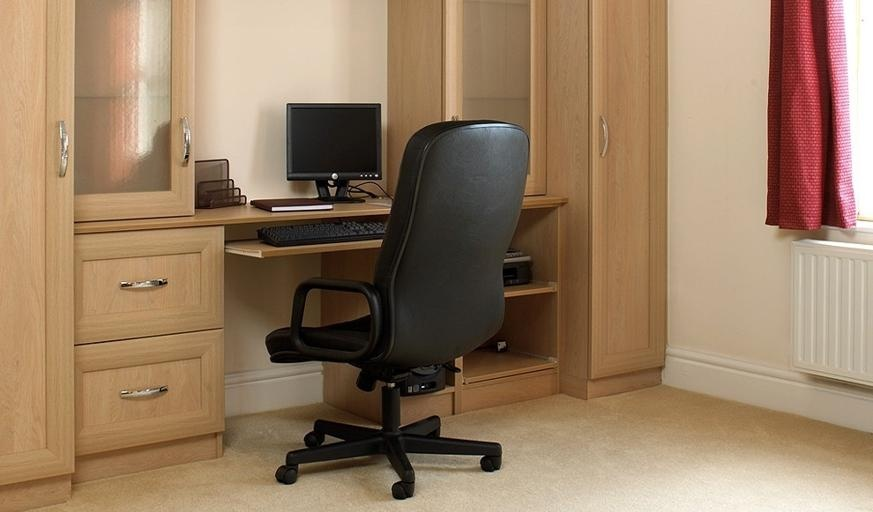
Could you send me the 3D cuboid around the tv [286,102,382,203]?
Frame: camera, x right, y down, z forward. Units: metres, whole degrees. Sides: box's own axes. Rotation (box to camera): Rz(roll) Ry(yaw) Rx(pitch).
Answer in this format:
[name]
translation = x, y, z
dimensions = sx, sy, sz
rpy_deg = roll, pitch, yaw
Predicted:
[tv]
translation = -0.610, -0.621, 4.084
dimensions = 0.706, 0.610, 0.218
rpy_deg = -1, 1, -18
